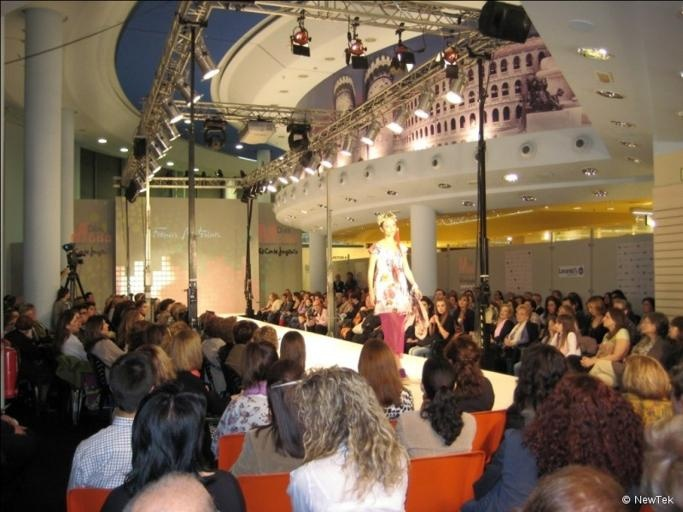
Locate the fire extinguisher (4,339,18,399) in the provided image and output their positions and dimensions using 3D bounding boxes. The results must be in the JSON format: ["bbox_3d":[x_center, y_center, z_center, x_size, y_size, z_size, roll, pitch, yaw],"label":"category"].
[{"bbox_3d":[-2.901,1.001,4.670,0.091,0.486,1.261,1,-7,-31],"label":"fire extinguisher"}]

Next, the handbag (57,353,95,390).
[{"bbox_3d":[-3.074,1.299,6.106,0.389,0.411,0.171,32,-25,-32],"label":"handbag"}]
